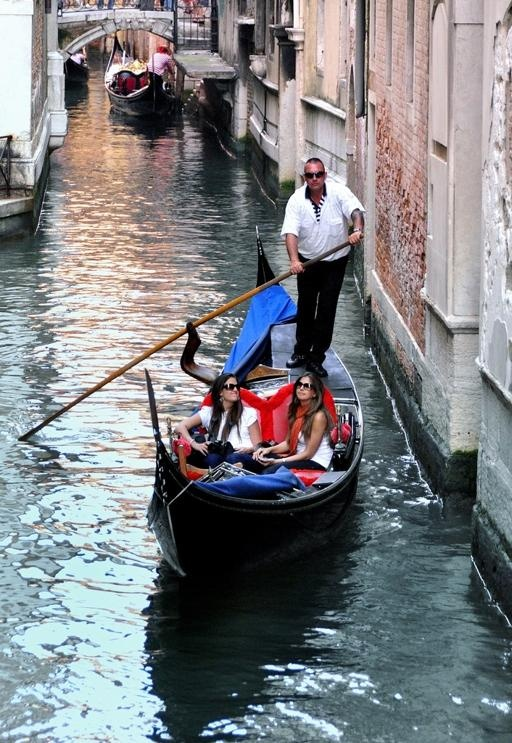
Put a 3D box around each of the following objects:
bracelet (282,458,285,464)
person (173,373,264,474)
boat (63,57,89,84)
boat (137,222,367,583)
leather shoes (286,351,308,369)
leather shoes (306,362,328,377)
[{"bbox_3d":[0.157,0.516,4.910,0.015,0.028,0.025,11,20,-1],"label":"bracelet"},{"bbox_3d":[-0.218,0.433,5.019,0.459,0.845,0.588,4,6,12],"label":"person"},{"bbox_3d":[-9.340,-15.471,44.064,0.952,1.369,3.178,0,10,1],"label":"boat"},{"bbox_3d":[0.105,0.230,5.241,0.796,1.025,2.904,-2,32,5],"label":"boat"},{"bbox_3d":[0.335,-0.088,6.897,0.125,0.176,0.380,0,-1,10],"label":"leather shoes"},{"bbox_3d":[0.457,-0.010,6.493,0.074,0.103,0.226,-11,20,-32],"label":"leather shoes"}]
